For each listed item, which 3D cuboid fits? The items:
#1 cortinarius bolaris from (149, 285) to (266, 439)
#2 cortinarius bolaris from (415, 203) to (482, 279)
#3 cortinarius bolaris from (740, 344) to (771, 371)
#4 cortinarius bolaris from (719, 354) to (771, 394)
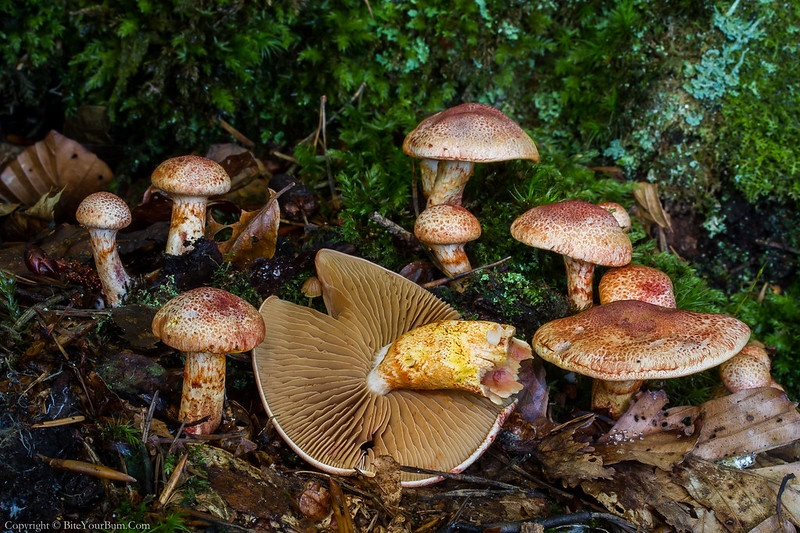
[{"bbox_3d":[-1.274,0.665,4.597,0.570,0.785,0.605,26,32,30],"label":"cortinarius bolaris"},{"bbox_3d":[0.357,-0.198,5.272,0.516,0.573,0.497,-2,19,10],"label":"cortinarius bolaris"},{"bbox_3d":[2.544,0.657,5.015,0.198,0.110,0.198,46,25,25],"label":"cortinarius bolaris"},{"bbox_3d":[2.418,0.740,4.896,0.273,0.156,0.270,-39,56,-24],"label":"cortinarius bolaris"}]
